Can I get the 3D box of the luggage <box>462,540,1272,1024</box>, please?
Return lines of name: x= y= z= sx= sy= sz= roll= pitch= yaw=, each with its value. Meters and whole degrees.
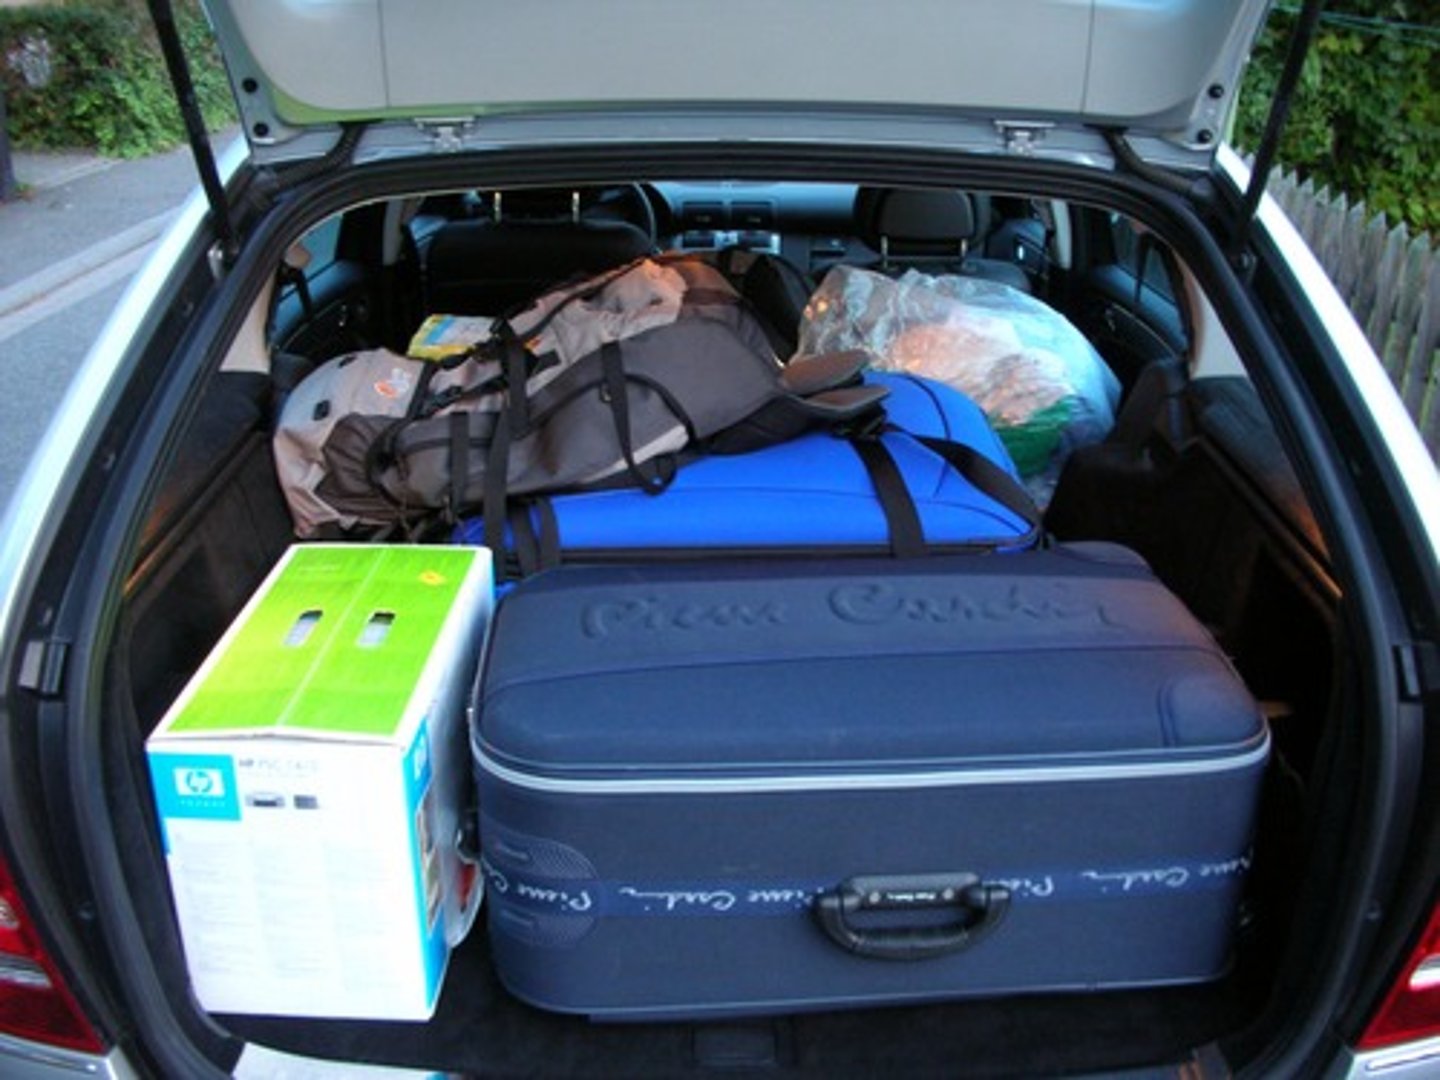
luggage: x=0.190 y=0.299 z=1.558 sx=0.966 sy=0.478 sz=0.698 roll=2 pitch=27 yaw=5

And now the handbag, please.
handbag: x=-0.323 y=-0.228 z=1.874 sx=0.619 sy=0.236 sz=0.516 roll=-13 pitch=33 yaw=-1

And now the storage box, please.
storage box: x=-0.438 y=0.301 z=1.703 sx=0.404 sy=0.815 sz=0.549 roll=1 pitch=17 yaw=4

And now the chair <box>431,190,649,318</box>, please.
chair: x=-0.524 y=-0.788 z=3.296 sx=0.617 sy=0.427 sz=0.634 roll=0 pitch=-1 yaw=4

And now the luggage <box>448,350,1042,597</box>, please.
luggage: x=0.082 y=-0.081 z=1.825 sx=0.649 sy=0.212 sz=0.451 roll=-1 pitch=21 yaw=0
